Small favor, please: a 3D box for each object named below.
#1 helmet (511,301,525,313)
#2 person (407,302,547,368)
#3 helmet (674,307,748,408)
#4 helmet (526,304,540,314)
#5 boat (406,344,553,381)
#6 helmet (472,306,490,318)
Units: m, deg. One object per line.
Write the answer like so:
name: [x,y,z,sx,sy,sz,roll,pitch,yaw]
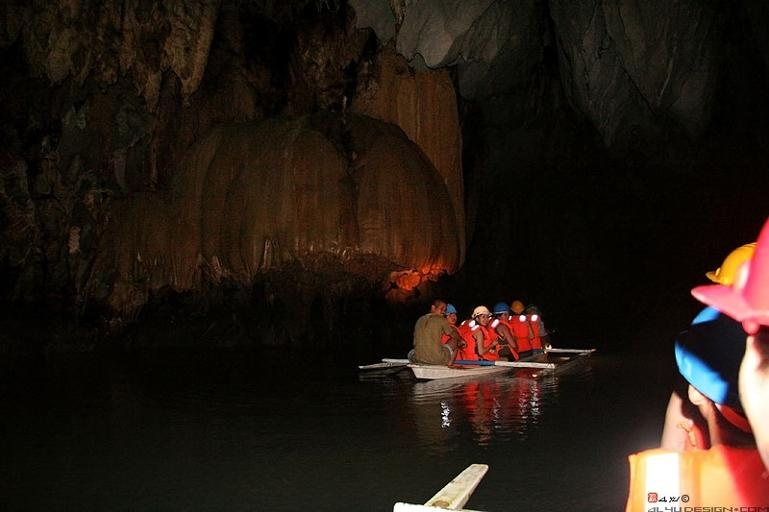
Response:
helmet: [2.870,1.112,15.491,0.321,0.332,0.290,-6,7,8]
person: [1.619,1.564,12.356,1.501,0.639,1.479,2,-2,-41]
helmet: [2.341,0.731,5.119,0.187,0.678,0.480,-23,19,-19]
helmet: [3.103,1.115,14.948,0.193,0.192,0.198,4,5,37]
boat: [2.265,1.854,12.510,4.107,0.419,0.788,2,-7,-28]
helmet: [1.694,1.014,12.920,0.221,0.152,0.273,7,-21,-40]
